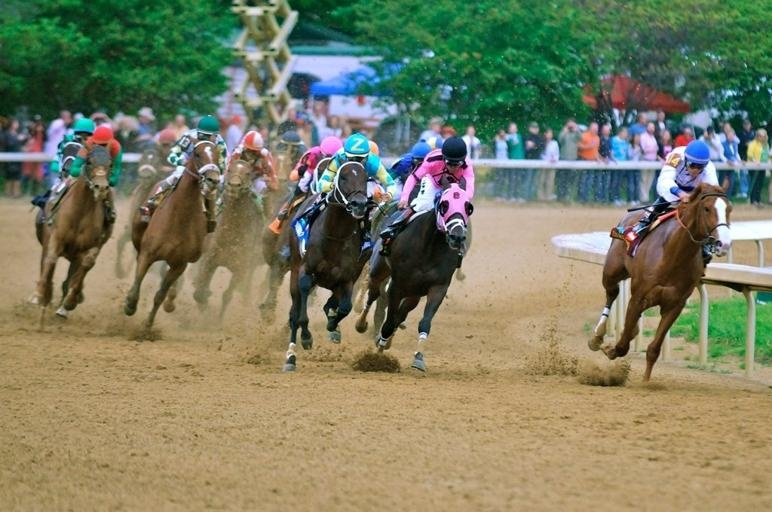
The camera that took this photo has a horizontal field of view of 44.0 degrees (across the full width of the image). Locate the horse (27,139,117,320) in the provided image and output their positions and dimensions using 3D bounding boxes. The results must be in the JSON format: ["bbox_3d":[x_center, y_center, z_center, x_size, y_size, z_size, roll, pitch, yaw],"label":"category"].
[{"bbox_3d":[-4.431,-0.365,13.625,1.093,2.482,1.203,-3,14,-16],"label":"horse"}]

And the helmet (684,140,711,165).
[{"bbox_3d":[4.018,-1.327,12.381,0.256,0.250,0.324,18,18,-4],"label":"helmet"}]

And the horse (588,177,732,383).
[{"bbox_3d":[3.531,0.343,12.510,1.137,2.685,2.020,-3,14,-17],"label":"horse"}]

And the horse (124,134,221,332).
[{"bbox_3d":[-3.035,-0.334,13.611,1.350,2.647,1.102,-1,14,-9],"label":"horse"}]

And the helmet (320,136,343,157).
[{"bbox_3d":[-0.757,-1.483,13.318,0.273,0.284,0.311,7,22,-8],"label":"helmet"}]

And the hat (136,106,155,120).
[{"bbox_3d":[-4.815,-2.931,19.353,0.446,0.137,0.446,23,-13,-11],"label":"hat"}]

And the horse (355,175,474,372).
[{"bbox_3d":[0.353,0.250,12.634,0.947,2.629,2.069,-6,15,-27],"label":"horse"}]

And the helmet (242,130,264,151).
[{"bbox_3d":[-2.045,-1.742,14.616,0.320,0.305,0.311,1,14,-2],"label":"helmet"}]

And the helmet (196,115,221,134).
[{"bbox_3d":[-2.522,-1.876,13.558,0.263,0.211,0.345,7,36,-20],"label":"helmet"}]

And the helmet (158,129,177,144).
[{"bbox_3d":[-3.962,-2.151,17.308,0.399,0.248,0.402,-1,12,-12],"label":"helmet"}]

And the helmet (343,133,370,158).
[{"bbox_3d":[-0.387,-1.408,12.275,0.251,0.212,0.348,7,29,-18],"label":"helmet"}]

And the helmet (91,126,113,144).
[{"bbox_3d":[-4.015,-1.718,13.560,0.292,0.225,0.408,-3,15,-17],"label":"helmet"}]

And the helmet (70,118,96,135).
[{"bbox_3d":[-4.551,-1.935,14.380,0.350,0.253,0.477,11,5,-17],"label":"helmet"}]
